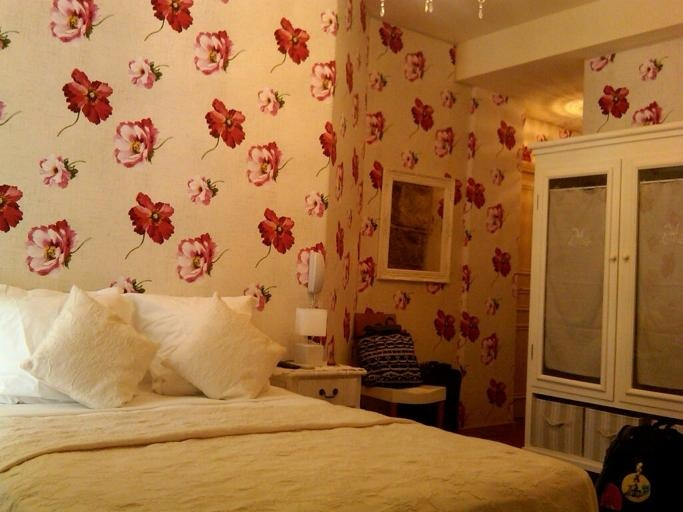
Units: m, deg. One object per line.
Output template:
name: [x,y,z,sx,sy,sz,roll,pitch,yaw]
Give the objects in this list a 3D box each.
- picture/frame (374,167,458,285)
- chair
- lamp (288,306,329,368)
picture/frame: [0.633,-0.256,4.608,0.915,1.106,0.040,9,-5,-31]
chair: [0.450,0.939,4.004,0.530,0.929,0.693,1,-5,-26]
lamp: [-0.224,0.544,3.517,0.224,0.318,0.419,3,0,-3]
